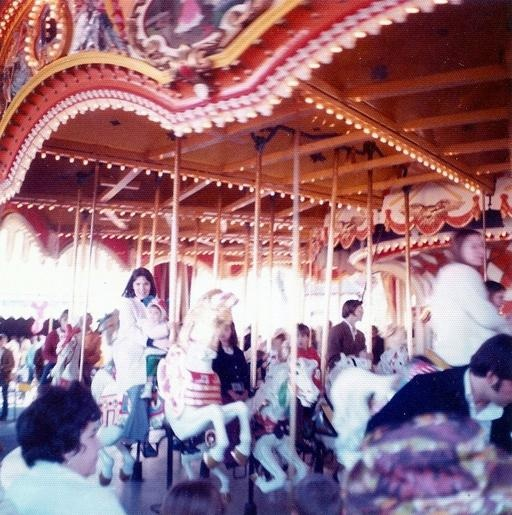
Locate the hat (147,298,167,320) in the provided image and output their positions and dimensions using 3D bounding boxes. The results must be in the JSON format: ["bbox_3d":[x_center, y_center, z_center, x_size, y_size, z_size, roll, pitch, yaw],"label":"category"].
[{"bbox_3d":[-0.569,0.290,2.667,0.093,0.127,0.065,-6,-15,1],"label":"hat"}]
